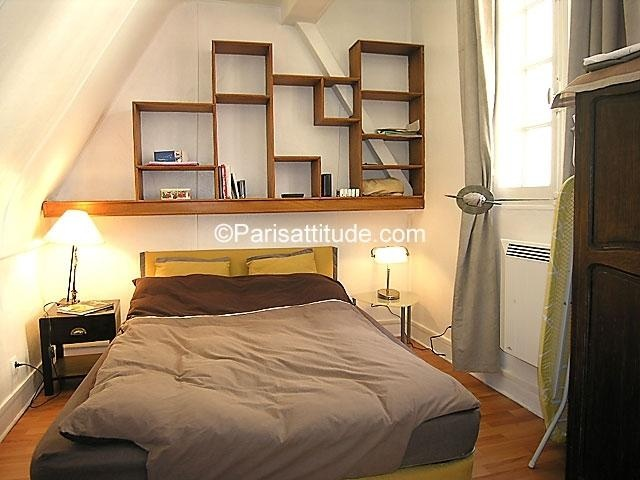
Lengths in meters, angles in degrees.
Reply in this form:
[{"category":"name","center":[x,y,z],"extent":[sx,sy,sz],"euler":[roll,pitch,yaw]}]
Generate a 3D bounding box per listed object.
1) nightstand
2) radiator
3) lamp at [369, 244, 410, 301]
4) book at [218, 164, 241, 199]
[{"category":"nightstand","center":[-1.839,0.802,4.091],"extent":[0.622,0.666,0.642],"euler":[-2,3,-24]},{"category":"radiator","center":[1.444,0.433,3.561],"extent":[0.546,0.723,0.066],"euler":[5,-3,-28]},{"category":"lamp","center":[0.594,0.276,4.401],"extent":[0.324,0.452,0.253],"euler":[-2,9,-3]},{"category":"book","center":[-0.756,-0.479,4.237],"extent":[0.186,0.275,0.088],"euler":[-2,13,-12]}]
